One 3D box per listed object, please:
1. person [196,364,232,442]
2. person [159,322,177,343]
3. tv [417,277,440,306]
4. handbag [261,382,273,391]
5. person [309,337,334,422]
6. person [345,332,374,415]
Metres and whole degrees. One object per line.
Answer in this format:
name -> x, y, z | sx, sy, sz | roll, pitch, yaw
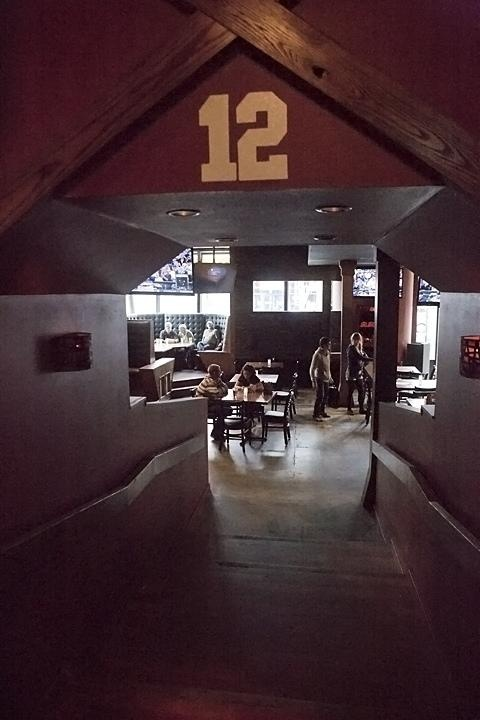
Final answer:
person -> -0.408, 0.677, 7.401 | 0.444, 1.233, 0.808 | -2, 5, -2
person -> -1.733, -0.640, 12.069 | 0.407, 0.424, 0.807 | -3, 5, -9
tv -> 4.452, -1.590, 11.936 | 0.439, 0.641, 0.808 | -1, 6, 20
handbag -> 0.430, 0.435, 8.047 | 0.135, 0.132, 0.111 | -18, 6, -15
person -> 1.510, 0.330, 9.342 | 0.347, 1.498, 0.876 | -1, 5, 10
person -> 2.226, 0.284, 9.444 | 0.456, 1.568, 1.587 | -1, 5, 13
